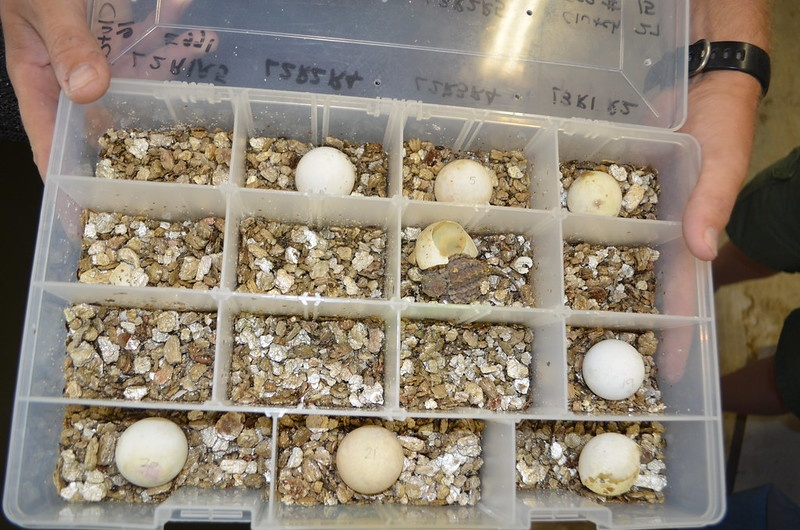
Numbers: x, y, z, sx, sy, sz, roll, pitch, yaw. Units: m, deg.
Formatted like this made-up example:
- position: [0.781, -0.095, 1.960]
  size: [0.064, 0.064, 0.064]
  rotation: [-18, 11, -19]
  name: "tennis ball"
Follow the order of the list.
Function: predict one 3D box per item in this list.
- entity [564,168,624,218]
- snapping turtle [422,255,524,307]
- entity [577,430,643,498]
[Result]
- position: [0.788, -0.286, 3.062]
  size: [0.168, 0.206, 0.106]
  rotation: [-12, 0, 7]
  name: "entity"
- position: [0.289, 0.067, 3.033]
  size: [0.363, 0.168, 0.209]
  rotation: [2, 83, -9]
  name: "snapping turtle"
- position: [0.828, 0.773, 3.017]
  size: [0.238, 0.208, 0.181]
  rotation: [28, 39, 19]
  name: "entity"
